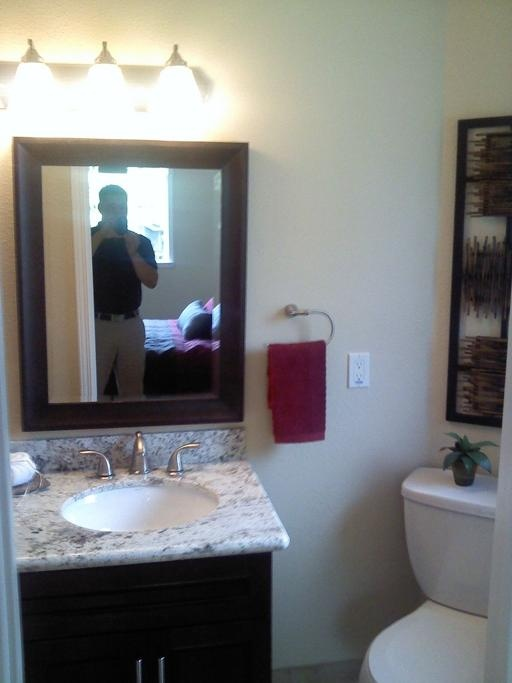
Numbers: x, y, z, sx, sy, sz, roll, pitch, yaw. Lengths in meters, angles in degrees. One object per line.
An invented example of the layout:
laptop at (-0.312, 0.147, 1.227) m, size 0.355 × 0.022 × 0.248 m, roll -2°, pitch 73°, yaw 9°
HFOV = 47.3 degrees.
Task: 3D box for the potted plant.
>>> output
potted plant at (0.603, 0.336, 1.731) m, size 0.153 × 0.127 × 0.181 m, roll 3°, pitch -5°, yaw -20°

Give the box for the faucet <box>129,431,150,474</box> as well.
faucet at (-0.324, 0.308, 1.606) m, size 0.052 × 0.107 × 0.055 m, roll -3°, pitch 10°, yaw -10°

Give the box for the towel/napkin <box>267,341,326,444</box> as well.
towel/napkin at (0.120, 0.148, 1.707) m, size 0.167 × 0.285 × 0.084 m, roll -2°, pitch 10°, yaw -2°
